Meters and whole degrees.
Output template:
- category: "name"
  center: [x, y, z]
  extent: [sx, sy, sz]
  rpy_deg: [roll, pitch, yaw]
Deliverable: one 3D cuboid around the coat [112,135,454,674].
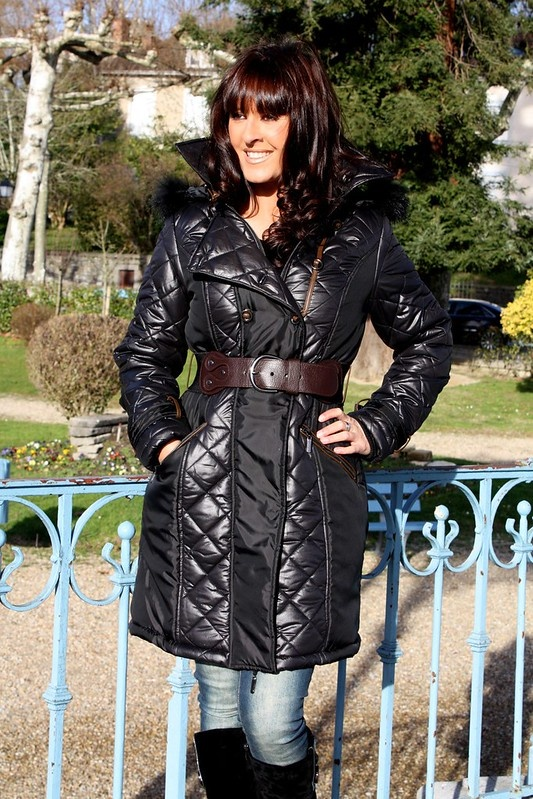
- category: "coat"
  center: [0.045, 0.018, 2.240]
  extent: [0.790, 1.131, 0.575]
  rpy_deg: [0, 7, -9]
